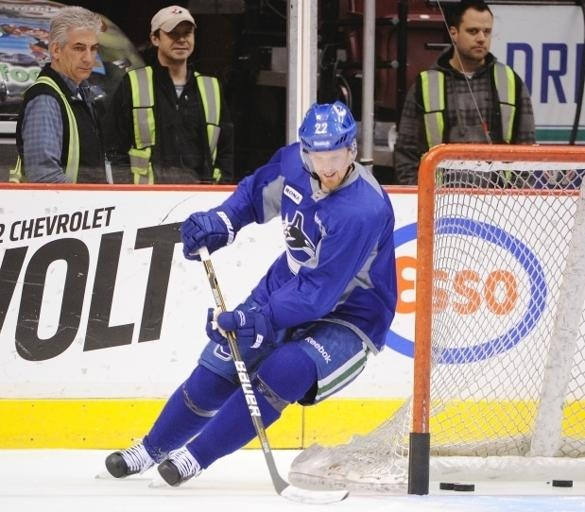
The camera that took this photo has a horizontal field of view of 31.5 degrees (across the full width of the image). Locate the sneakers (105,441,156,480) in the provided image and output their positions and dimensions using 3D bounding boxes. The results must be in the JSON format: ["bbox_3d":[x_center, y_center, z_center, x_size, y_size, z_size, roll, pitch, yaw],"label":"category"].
[{"bbox_3d":[-0.609,0.774,3.982,0.111,0.081,0.246,-26,-8,16],"label":"sneakers"}]

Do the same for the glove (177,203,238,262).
[{"bbox_3d":[-0.340,-0.074,4.001,0.201,0.149,0.203,-17,-21,40],"label":"glove"}]

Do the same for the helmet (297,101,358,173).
[{"bbox_3d":[0.122,-0.430,3.697,0.216,0.263,0.244,-1,14,10],"label":"helmet"}]

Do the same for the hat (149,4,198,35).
[{"bbox_3d":[-0.520,-1.021,4.421,0.107,0.075,0.144,-16,19,-30],"label":"hat"}]

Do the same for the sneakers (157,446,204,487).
[{"bbox_3d":[-0.415,0.768,3.799,0.091,0.084,0.215,-31,1,1],"label":"sneakers"}]

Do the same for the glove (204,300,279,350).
[{"bbox_3d":[-0.188,0.257,3.773,0.227,0.134,0.095,9,-13,-9],"label":"glove"}]
